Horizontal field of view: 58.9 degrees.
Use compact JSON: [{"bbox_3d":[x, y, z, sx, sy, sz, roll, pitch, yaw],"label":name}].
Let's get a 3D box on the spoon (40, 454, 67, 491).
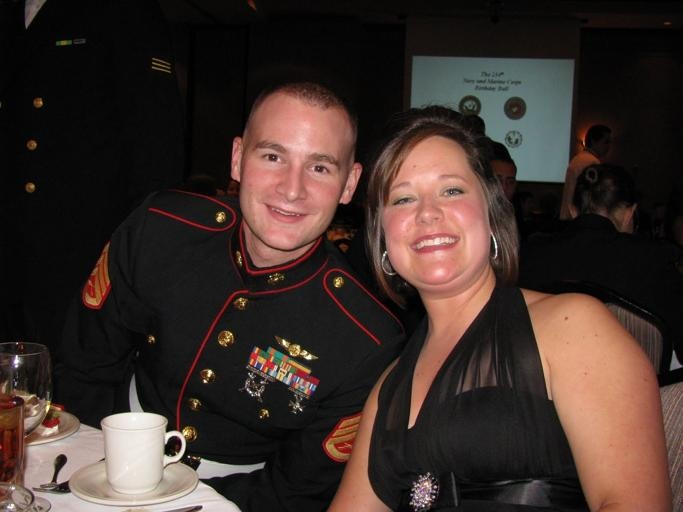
[{"bbox_3d":[-0.736,0.550,1.552,0.028,0.019,0.108,3,35,-7],"label":"spoon"}]
